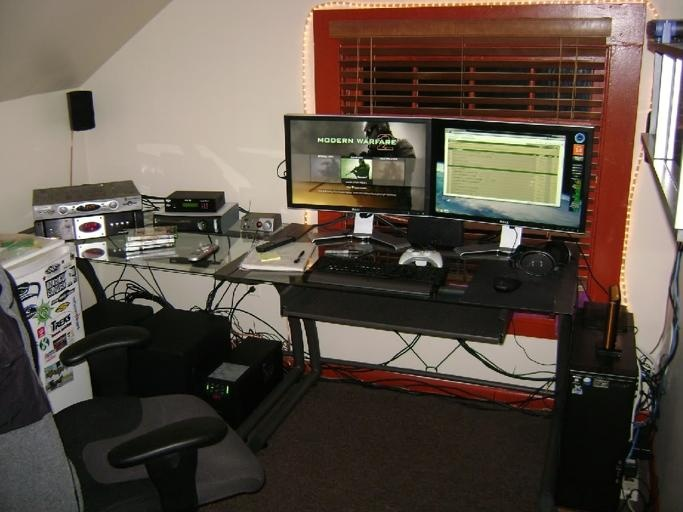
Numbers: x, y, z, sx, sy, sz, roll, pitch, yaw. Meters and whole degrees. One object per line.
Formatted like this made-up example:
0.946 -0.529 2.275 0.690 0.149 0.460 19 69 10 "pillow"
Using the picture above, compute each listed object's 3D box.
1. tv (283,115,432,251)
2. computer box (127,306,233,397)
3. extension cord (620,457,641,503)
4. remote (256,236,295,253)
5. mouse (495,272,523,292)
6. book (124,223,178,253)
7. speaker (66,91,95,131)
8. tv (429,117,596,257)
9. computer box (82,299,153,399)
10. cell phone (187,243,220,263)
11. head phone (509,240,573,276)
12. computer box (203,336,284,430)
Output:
0.088 -0.352 2.460 0.649 0.538 0.170 4 20 12 "tv"
-0.789 0.453 2.764 0.456 0.373 0.431 5 23 9 "computer box"
1.265 0.987 2.329 0.051 0.212 0.158 6 2 14 "extension cord"
-0.301 -0.072 2.443 0.060 0.027 0.206 16 26 37 "remote"
0.642 0.095 2.071 0.070 0.020 0.077 3 26 23 "mouse"
-0.901 -0.091 2.538 0.230 0.087 0.285 -5 12 -17 "book"
-1.526 -0.851 3.132 0.148 0.233 0.140 -6 13 -23 "speaker"
0.717 -0.311 2.298 0.608 0.503 0.156 7 24 20 "tv"
-0.974 0.415 2.333 0.257 0.339 0.360 6 24 12 "computer box"
-0.612 -0.018 2.369 0.057 0.025 0.125 5 21 18 "cell phone"
0.836 0.010 2.203 0.199 0.081 0.170 2 25 29 "head phone"
-0.488 0.649 2.874 0.226 0.246 0.421 -1 20 27 "computer box"
